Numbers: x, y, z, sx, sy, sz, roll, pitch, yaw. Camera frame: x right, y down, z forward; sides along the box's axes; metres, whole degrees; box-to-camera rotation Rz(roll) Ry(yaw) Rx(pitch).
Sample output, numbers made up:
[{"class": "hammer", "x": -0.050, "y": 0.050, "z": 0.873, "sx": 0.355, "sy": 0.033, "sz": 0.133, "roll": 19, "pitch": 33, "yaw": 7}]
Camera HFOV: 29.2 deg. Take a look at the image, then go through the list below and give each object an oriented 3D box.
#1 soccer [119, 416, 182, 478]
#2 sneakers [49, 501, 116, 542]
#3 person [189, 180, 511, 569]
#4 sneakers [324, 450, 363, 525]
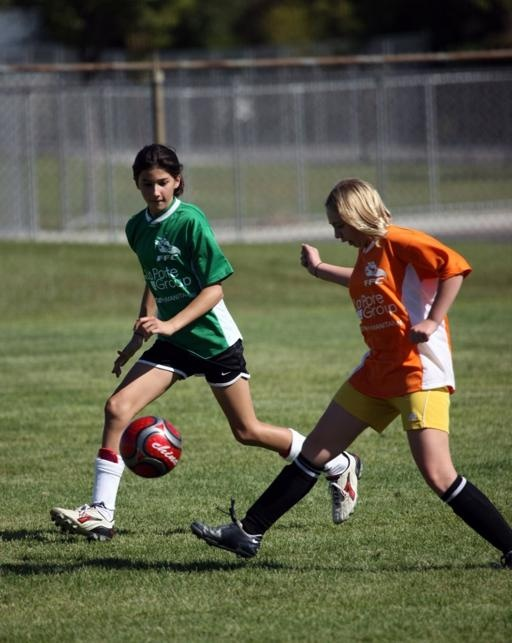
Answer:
[{"class": "soccer", "x": -0.498, "y": 0.570, "z": 4.466, "sx": 0.321, "sy": 0.257, "sz": 0.268, "roll": -3, "pitch": -11, "yaw": -5}, {"class": "sneakers", "x": -0.767, "y": 0.910, "z": 4.497, "sx": 0.350, "sy": 0.156, "sz": 0.121, "roll": 18, "pitch": -39, "yaw": -3}, {"class": "person", "x": 0.454, "y": 0.211, "z": 4.037, "sx": 1.145, "sy": 1.581, "sz": 0.428, "roll": -1, "pitch": 12, "yaw": 13}, {"class": "sneakers", "x": 0.429, "y": 0.765, "z": 4.567, "sx": 0.203, "sy": 0.334, "sz": 0.131, "roll": 26, "pitch": -28, "yaw": -32}]
